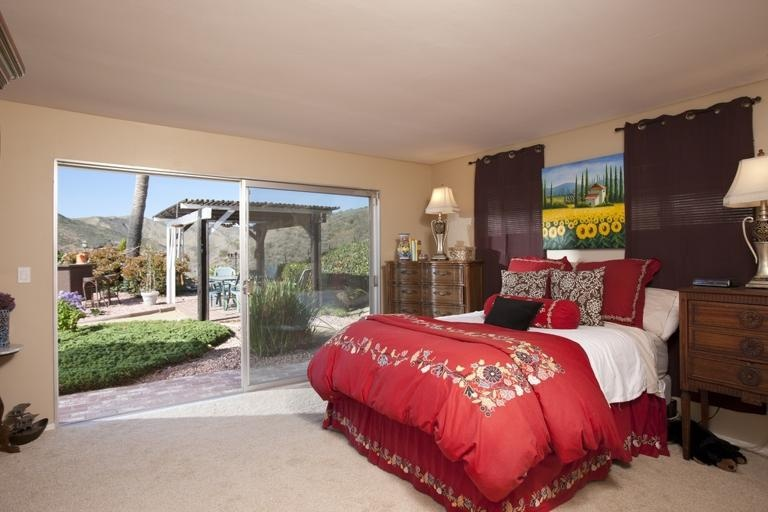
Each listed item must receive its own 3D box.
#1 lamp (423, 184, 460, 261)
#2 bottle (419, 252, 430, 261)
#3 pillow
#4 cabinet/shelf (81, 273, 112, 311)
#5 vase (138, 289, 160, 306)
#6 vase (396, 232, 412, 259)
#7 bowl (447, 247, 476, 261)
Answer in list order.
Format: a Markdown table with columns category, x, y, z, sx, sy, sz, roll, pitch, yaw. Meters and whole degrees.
| category | x | y | z | sx | sy | sz | roll | pitch | yaw |
| --- | --- | --- | --- | --- | --- | --- | --- | --- | --- |
| lamp | 0.835 | -0.486 | 6.507 | 0.433 | 1.013 | 0.873 | 0 | 7 | 6 |
| bottle | 0.598 | 0.015 | 6.830 | 0.126 | 0.092 | 0.141 | 0 | 1 | 44 |
| pillow | 2.280 | 0.444 | 4.796 | 1.081 | 0.873 | 0.308 | 6 | -41 | 31 |
| cabinet/shelf | -6.191 | 0.764 | 9.693 | 0.577 | 0.762 | 0.563 | 3 | 2 | 35 |
| vase | -5.503 | 0.983 | 10.546 | 0.358 | 0.256 | 0.363 | 3 | 1 | 42 |
| vase | 0.283 | -0.135 | 6.560 | 0.208 | 0.367 | 0.373 | -1 | 7 | -4 |
| bowl | 1.002 | -0.019 | 6.104 | 0.235 | 0.135 | 0.237 | 0 | -1 | 0 |
